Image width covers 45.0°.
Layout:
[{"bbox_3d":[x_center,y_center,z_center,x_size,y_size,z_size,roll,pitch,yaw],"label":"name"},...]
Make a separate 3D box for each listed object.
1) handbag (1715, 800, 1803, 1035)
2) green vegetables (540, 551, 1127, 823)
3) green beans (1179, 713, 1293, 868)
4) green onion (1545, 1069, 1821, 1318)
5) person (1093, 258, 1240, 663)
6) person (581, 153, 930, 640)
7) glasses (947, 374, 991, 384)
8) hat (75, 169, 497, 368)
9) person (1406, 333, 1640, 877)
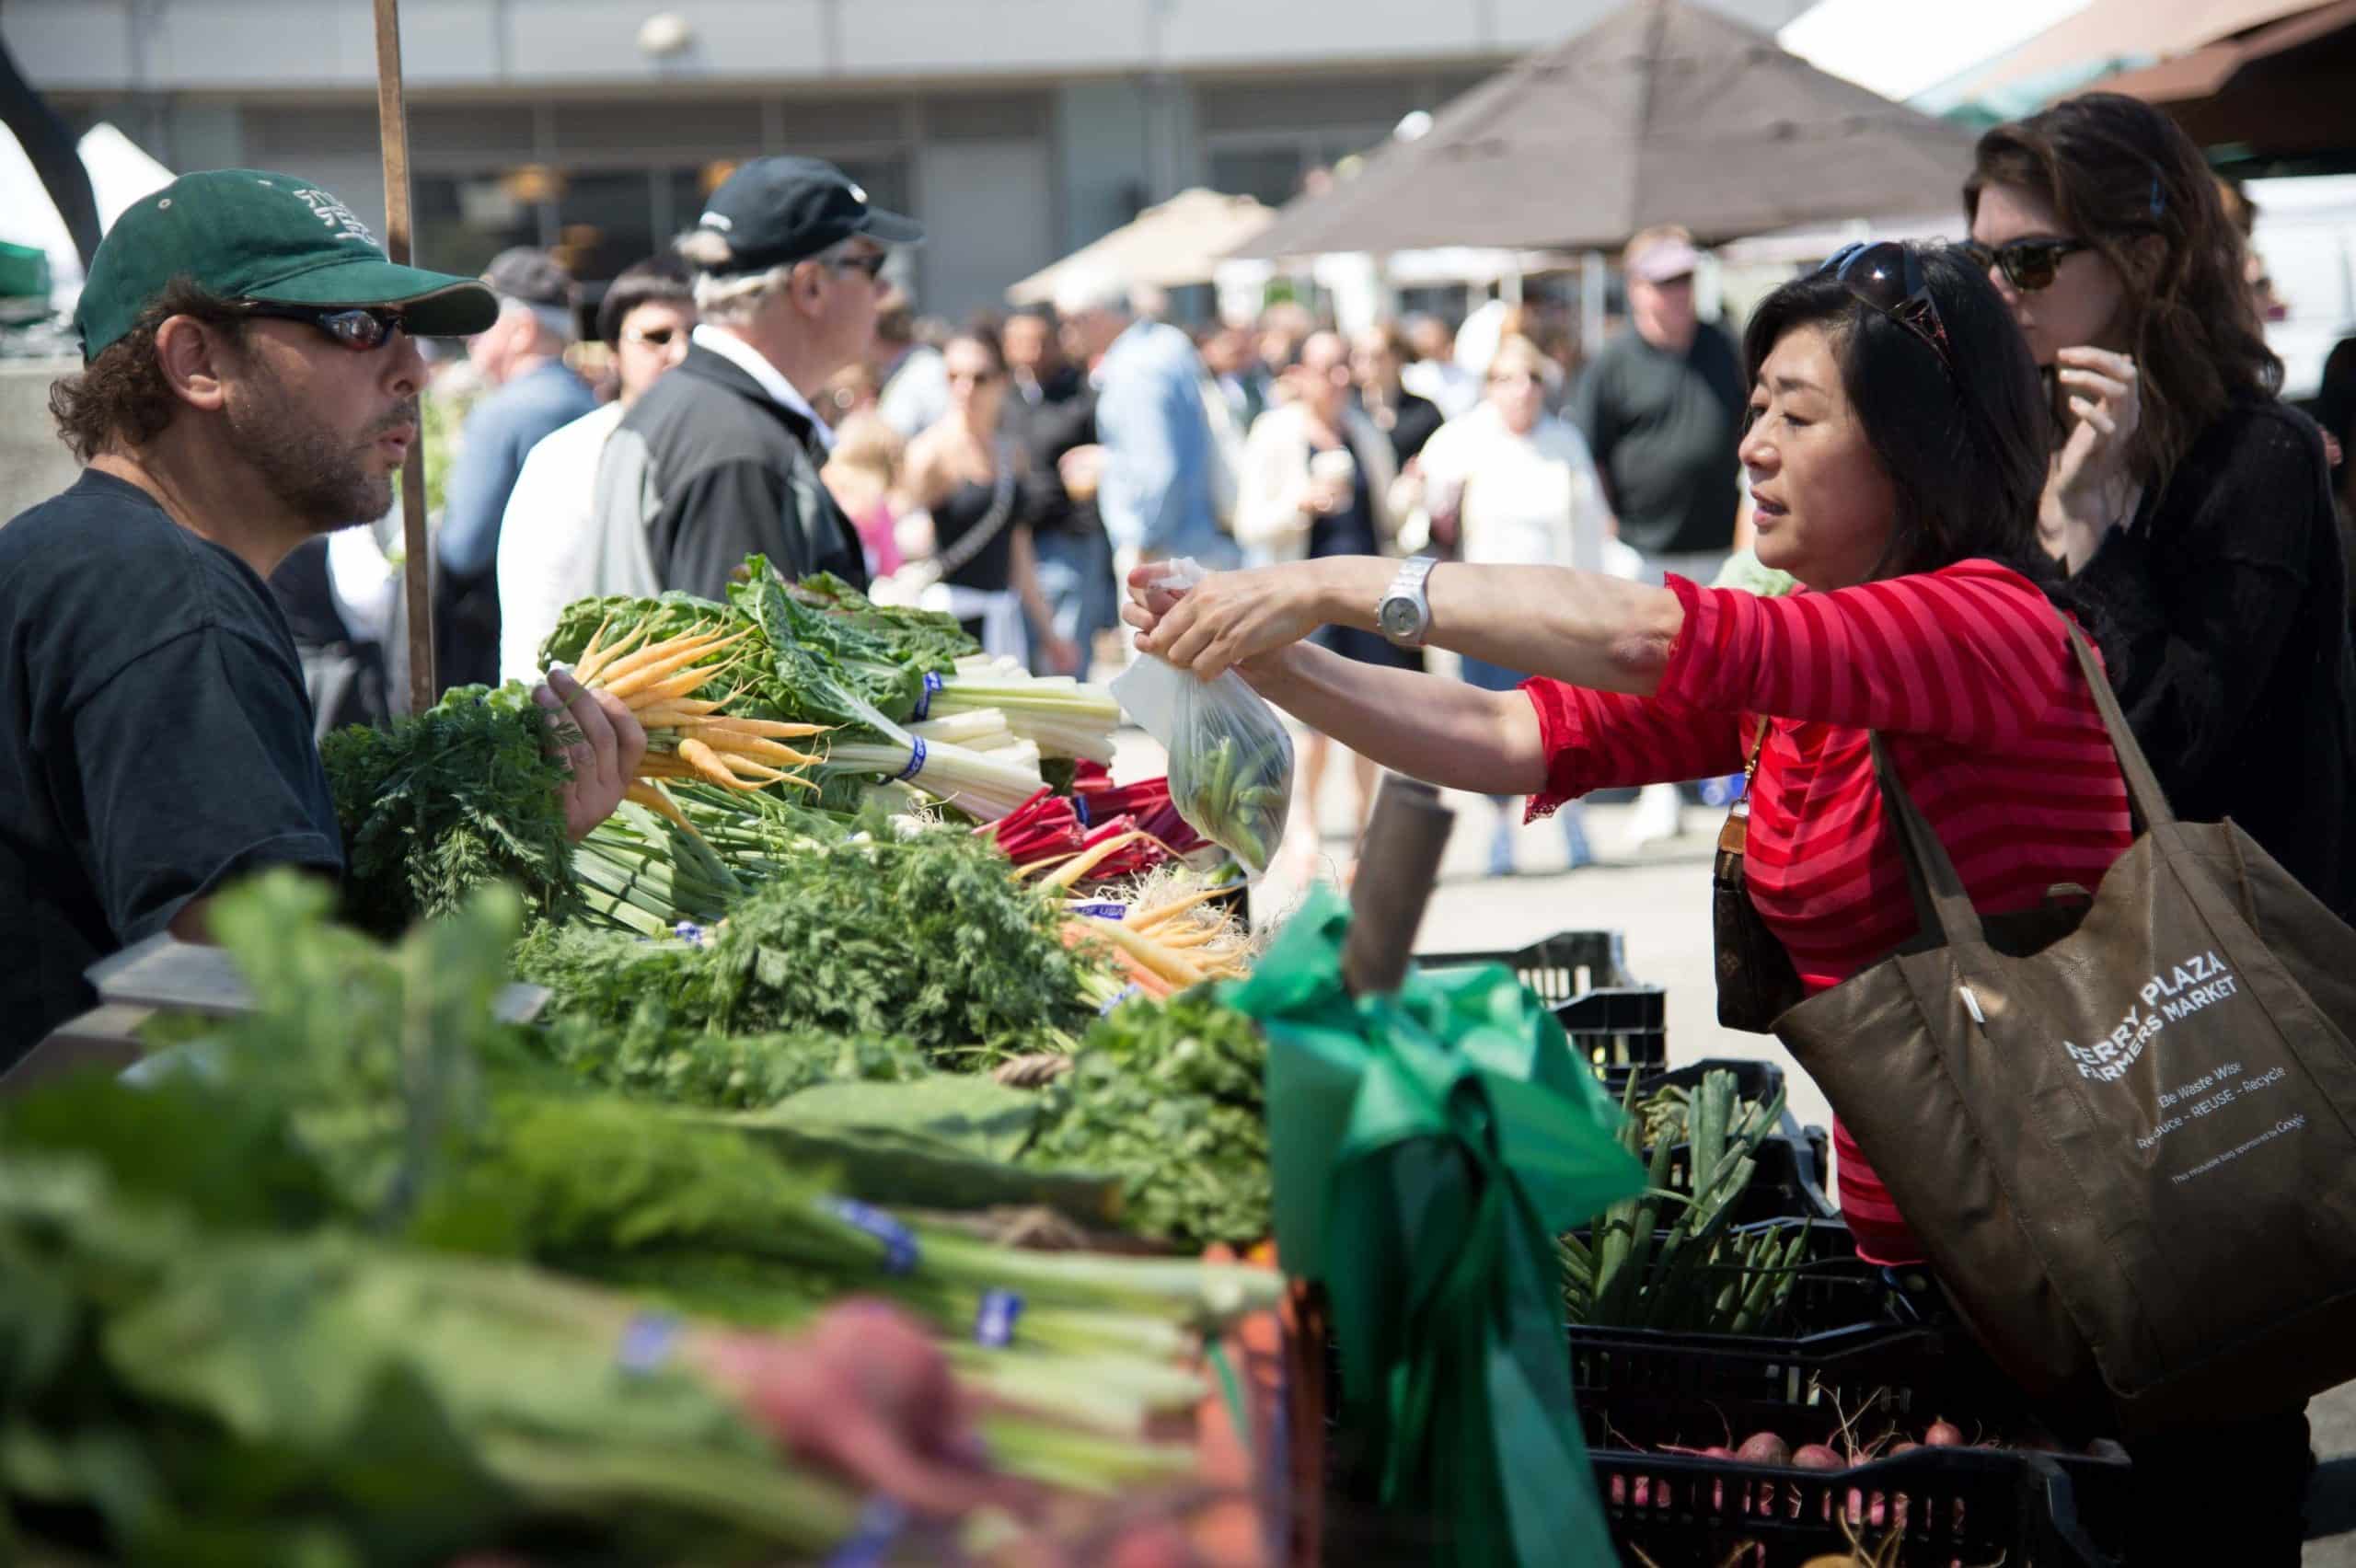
[{"bbox_3d":[1.060,0.288,5.345,0.128,0.528,0.146,-2,-1,-28],"label":"handbag"},{"bbox_3d":[-0.613,-0.189,5.810,1.189,0.770,0.568,-2,0,3],"label":"green vegetables"},{"bbox_3d":[0.106,0.035,5.226,0.218,0.273,0.191,-4,-1,1],"label":"green beans"},{"bbox_3d":[0.894,0.749,5.051,0.368,0.248,0.697,0,17,13],"label":"green onion"},{"bbox_3d":[-0.098,-0.900,12.331,0.646,2.424,1.010,-1,2,5],"label":"person"},{"bbox_3d":[-1.041,-0.789,6.875,0.707,1.489,1.254,3,6,-23],"label":"person"},{"bbox_3d":[-0.887,-1.753,12.218,0.166,0.055,0.119,-1,11,-11],"label":"glasses"},{"bbox_3d":[-1.602,-0.925,4.998,0.538,0.292,0.375,-4,2,-12],"label":"hat"},{"bbox_3d":[1.408,-1.034,11.794,0.838,2.706,0.811,-2,-13,5],"label":"person"}]
